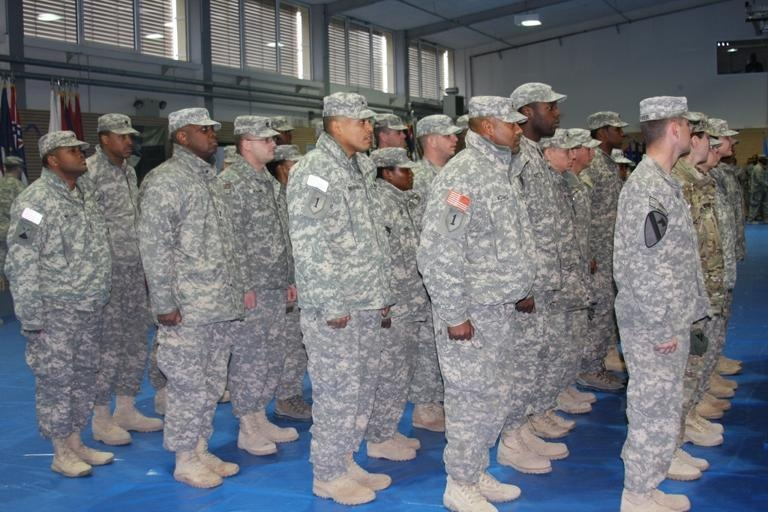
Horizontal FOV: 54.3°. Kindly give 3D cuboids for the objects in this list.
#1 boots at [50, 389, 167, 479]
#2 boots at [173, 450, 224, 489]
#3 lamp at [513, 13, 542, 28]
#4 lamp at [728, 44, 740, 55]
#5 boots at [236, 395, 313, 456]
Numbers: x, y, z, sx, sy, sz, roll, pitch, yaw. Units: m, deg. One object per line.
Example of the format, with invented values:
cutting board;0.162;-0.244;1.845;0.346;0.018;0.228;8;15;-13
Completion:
boots;-2.076;1.368;5.578;0.554;0.228;0.824;6;15;23
boots;-1.306;1.472;5.276;0.193;0.261;0.503;-12;6;-43
lamp;2.895;-4.802;15.126;0.488;0.255;0.523;0;10;6
lamp;8.965;-5.307;19.163;0.400;0.110;0.457;0;-4;11
boots;-0.779;1.371;5.721;0.693;0.327;0.215;0;7;-1
